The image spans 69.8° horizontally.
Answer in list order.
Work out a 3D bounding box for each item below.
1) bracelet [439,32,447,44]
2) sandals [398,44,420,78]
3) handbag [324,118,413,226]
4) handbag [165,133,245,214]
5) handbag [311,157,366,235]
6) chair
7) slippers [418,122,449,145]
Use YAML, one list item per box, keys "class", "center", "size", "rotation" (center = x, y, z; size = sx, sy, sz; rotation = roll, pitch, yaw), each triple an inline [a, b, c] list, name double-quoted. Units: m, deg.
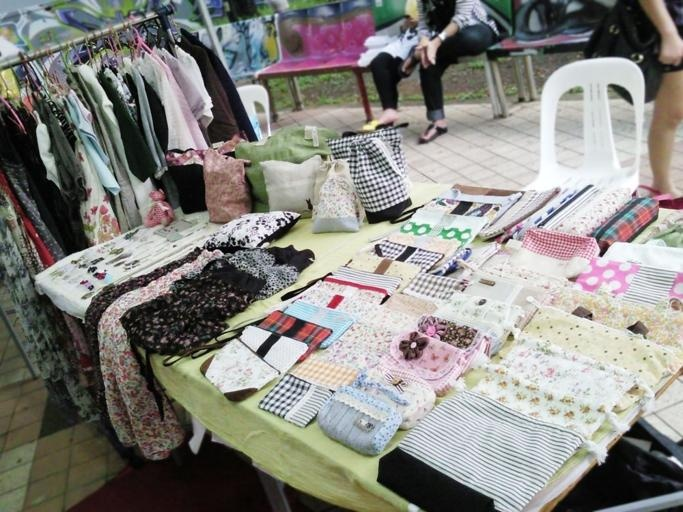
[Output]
- class: "bracelet"
  center: [1.018, -2.228, 4.981]
  size: [0.073, 0.097, 0.092]
  rotation: [4, 26, 4]
- class: "sandals"
  center: [0.718, -2.063, 5.269]
  size: [0.136, 0.367, 0.129]
  rotation: [42, 24, 25]
- class: "handbag"
  center: [0.200, -0.521, 3.150]
  size: [0.467, 0.533, 0.572]
  rotation: [-9, 27, 12]
- class: "handbag"
  center: [-1.024, -0.570, 3.692]
  size: [0.587, 0.553, 0.177]
  rotation: [-2, -4, 28]
- class: "handbag"
  center: [-0.040, -0.374, 3.053]
  size: [0.337, 0.150, 0.434]
  rotation: [0, 73, 15]
- class: "chair"
  center: [1.338, -0.677, 2.767]
  size: [0.720, 0.660, 0.688]
  rotation: [-10, 29, 22]
- class: "slippers"
  center: [1.005, -1.343, 5.369]
  size: [0.416, 0.167, 0.149]
  rotation: [-33, 48, -21]
